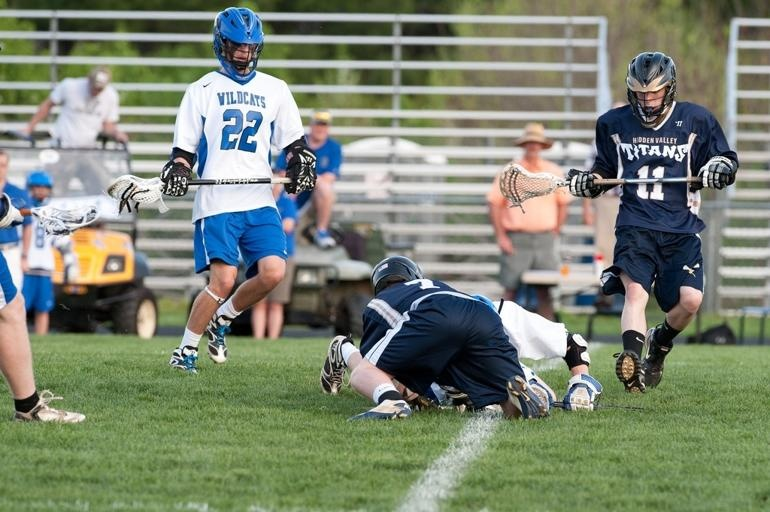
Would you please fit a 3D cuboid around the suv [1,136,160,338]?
[{"bbox_3d":[-4.134,-0.118,18.022,1.823,2.499,2.950,0,-5,-6],"label":"suv"}]

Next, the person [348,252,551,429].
[{"bbox_3d":[0.486,0.831,11.607,1.144,0.580,1.598,8,5,-20],"label":"person"}]

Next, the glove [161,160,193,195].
[{"bbox_3d":[-2.028,-0.749,12.759,0.260,0.351,0.159,6,1,-14],"label":"glove"}]

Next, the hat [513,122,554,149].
[{"bbox_3d":[2.055,-1.617,17.975,0.567,0.291,0.561,1,-6,-4],"label":"hat"}]

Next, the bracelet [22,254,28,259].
[{"bbox_3d":[-4.487,0.008,16.371,0.062,0.060,0.014,-4,1,1],"label":"bracelet"}]

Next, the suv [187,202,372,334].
[{"bbox_3d":[-0.937,0.267,18.284,1.625,1.330,2.321,1,-6,0],"label":"suv"}]

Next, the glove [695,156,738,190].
[{"bbox_3d":[3.155,-0.780,12.501,0.386,0.317,0.295,1,11,-1],"label":"glove"}]

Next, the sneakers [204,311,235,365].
[{"bbox_3d":[-1.637,0.810,13.348,0.296,0.550,0.185,-22,-21,36],"label":"sneakers"}]
